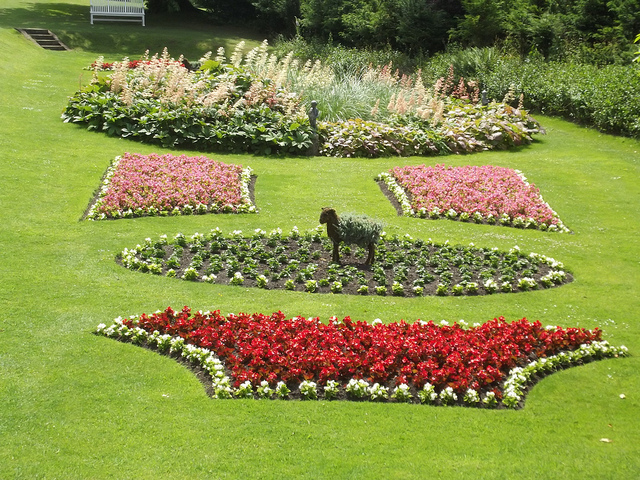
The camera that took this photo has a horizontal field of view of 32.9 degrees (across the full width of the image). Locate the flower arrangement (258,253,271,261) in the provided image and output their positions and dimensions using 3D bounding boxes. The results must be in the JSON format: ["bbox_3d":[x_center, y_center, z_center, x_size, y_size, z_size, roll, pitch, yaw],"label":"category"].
[{"bbox_3d":[-1.149,0.330,21.529,0.226,0.117,0.121,13,16,21],"label":"flower arrangement"}]

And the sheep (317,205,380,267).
[{"bbox_3d":[0.526,-0.106,21.386,1.398,0.863,0.583,6,-1,-17],"label":"sheep"}]

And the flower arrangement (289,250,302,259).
[{"bbox_3d":[-0.543,0.301,21.654,0.183,0.096,0.143,4,3,8],"label":"flower arrangement"}]

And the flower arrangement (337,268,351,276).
[{"bbox_3d":[0.430,0.631,21.240,0.180,0.082,0.145,3,5,-11],"label":"flower arrangement"}]
